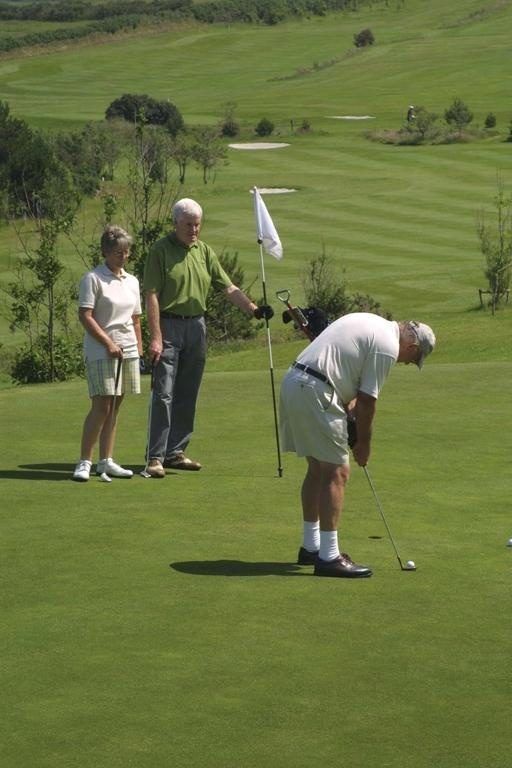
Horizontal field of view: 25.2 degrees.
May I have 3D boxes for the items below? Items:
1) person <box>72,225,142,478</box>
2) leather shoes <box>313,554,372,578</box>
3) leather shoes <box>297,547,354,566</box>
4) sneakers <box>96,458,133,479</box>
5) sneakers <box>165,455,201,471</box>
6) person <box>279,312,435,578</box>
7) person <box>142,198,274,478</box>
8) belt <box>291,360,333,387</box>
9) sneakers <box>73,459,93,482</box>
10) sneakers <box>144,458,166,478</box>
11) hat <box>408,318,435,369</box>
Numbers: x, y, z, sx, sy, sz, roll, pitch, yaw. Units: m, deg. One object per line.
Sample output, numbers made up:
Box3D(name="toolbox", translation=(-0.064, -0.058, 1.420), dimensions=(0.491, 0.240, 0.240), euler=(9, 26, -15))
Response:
Box3D(name="person", translation=(-0.983, -0.200, 7.510), dimensions=(0.415, 1.665, 0.654), euler=(0, 8, 2))
Box3D(name="leather shoes", translation=(0.404, 0.881, 5.522), dimensions=(0.264, 0.126, 0.108), euler=(1, -4, 1))
Box3D(name="leather shoes", translation=(0.337, 0.833, 5.666), dimensions=(0.270, 0.135, 0.102), euler=(-1, 1, 0))
Box3D(name="sneakers", translation=(-0.942, 0.550, 7.520), dimensions=(0.296, 0.145, 0.103), euler=(1, 9, -4))
Box3D(name="sneakers", translation=(-0.525, 0.558, 8.004), dimensions=(0.276, 0.124, 0.105), euler=(1, 4, 11))
Box3D(name="person", translation=(0.452, 0.283, 5.585), dimensions=(0.675, 1.265, 0.475), euler=(-1, 8, -8))
Box3D(name="person", translation=(-0.429, -0.323, 7.899), dimensions=(0.690, 1.882, 0.839), euler=(0, 8, -3))
Box3D(name="belt", translation=(0.260, -0.055, 5.410), dimensions=(0.132, 0.035, 0.127), euler=(32, 6, 10))
Box3D(name="sneakers", translation=(-1.126, 0.558, 7.398), dimensions=(0.114, 0.137, 0.220), euler=(-1, 9, -10))
Box3D(name="sneakers", translation=(-0.673, 0.572, 7.698), dimensions=(0.139, 0.150, 0.096), euler=(-1, 0, 2))
Box3D(name="hat", translation=(0.781, -0.195, 5.623), dimensions=(0.123, 0.223, 0.151), euler=(1, 8, 27))
